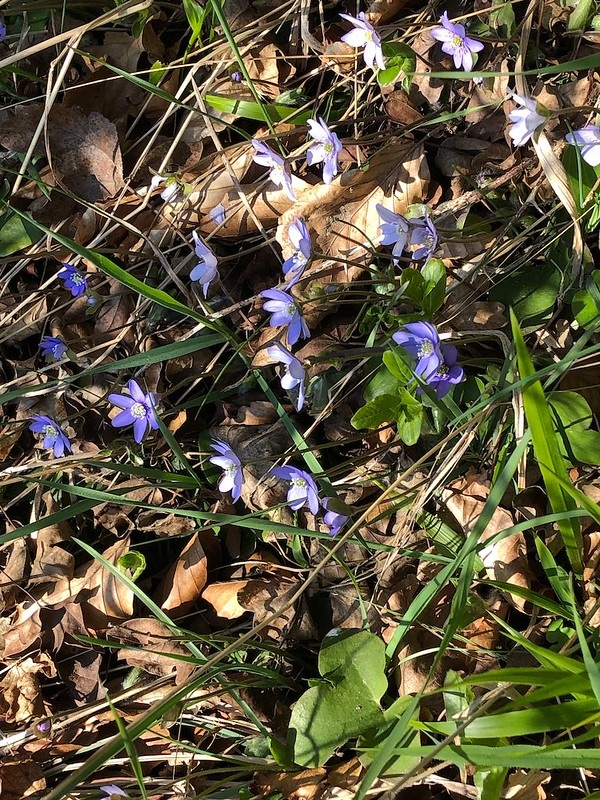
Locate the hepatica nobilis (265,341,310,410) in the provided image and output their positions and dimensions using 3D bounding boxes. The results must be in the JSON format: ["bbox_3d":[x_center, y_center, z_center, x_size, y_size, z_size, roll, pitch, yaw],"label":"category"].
[{"bbox_3d":[-0.008,-0.042,1.504,0.039,0.134,0.128,-26,101,-12],"label":"hepatica nobilis"}]

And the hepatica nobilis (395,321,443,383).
[{"bbox_3d":[0.211,-0.097,1.314,0.057,0.107,0.109,-25,68,-5],"label":"hepatica nobilis"}]

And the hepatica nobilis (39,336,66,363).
[{"bbox_3d":[-0.648,-0.143,1.922,0.078,0.068,0.038,33,48,20],"label":"hepatica nobilis"}]

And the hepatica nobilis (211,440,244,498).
[{"bbox_3d":[-0.155,0.153,1.618,0.041,0.118,0.122,-19,32,-26],"label":"hepatica nobilis"}]

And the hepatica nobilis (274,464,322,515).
[{"bbox_3d":[0.011,0.167,1.520,0.042,0.107,0.110,-29,58,-34],"label":"hepatica nobilis"}]

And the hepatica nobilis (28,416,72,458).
[{"bbox_3d":[-0.628,0.093,1.870,0.089,0.089,0.027,47,50,2],"label":"hepatica nobilis"}]
